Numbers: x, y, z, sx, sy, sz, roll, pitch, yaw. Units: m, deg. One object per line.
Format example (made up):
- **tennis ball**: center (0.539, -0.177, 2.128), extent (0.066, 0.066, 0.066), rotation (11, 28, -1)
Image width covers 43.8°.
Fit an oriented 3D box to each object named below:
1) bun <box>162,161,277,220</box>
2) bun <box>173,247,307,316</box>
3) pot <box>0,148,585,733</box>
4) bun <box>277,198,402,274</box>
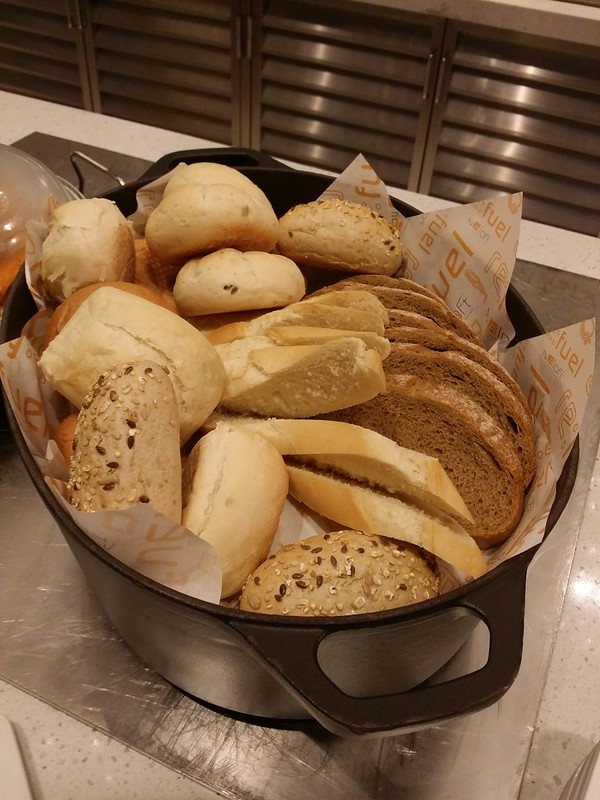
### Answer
- **bun**: center (-0.070, -0.180, 0.633), extent (0.069, 0.027, 0.053), rotation (9, 23, -39)
- **bun**: center (-0.046, -0.092, 0.590), extent (0.085, 0.030, 0.055), rotation (-12, 38, -10)
- **pot**: center (-0.054, 0.059, 0.527), extent (0.330, 0.148, 0.383), rotation (-15, 52, -20)
- **bun**: center (0.032, -0.143, 0.665), extent (0.099, 0.035, 0.061), rotation (8, 51, -6)
